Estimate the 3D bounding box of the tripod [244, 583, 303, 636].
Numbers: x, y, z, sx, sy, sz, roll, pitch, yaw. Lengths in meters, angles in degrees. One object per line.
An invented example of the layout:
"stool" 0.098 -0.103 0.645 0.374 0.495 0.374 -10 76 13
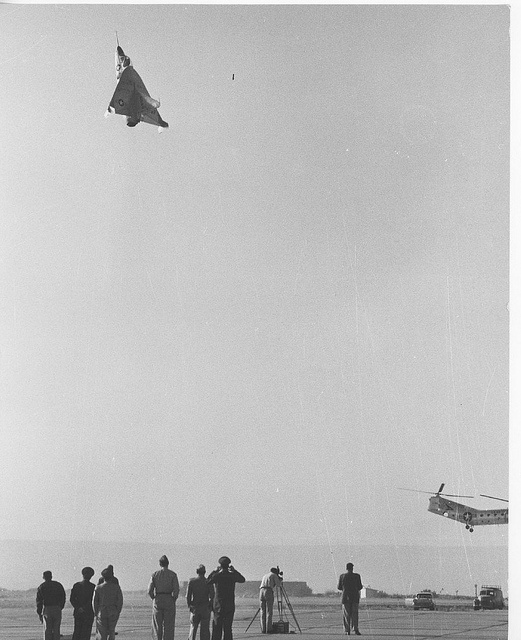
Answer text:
"tripod" 0.185 1.907 9.372 0.192 0.300 0.062 1 -21 -4
